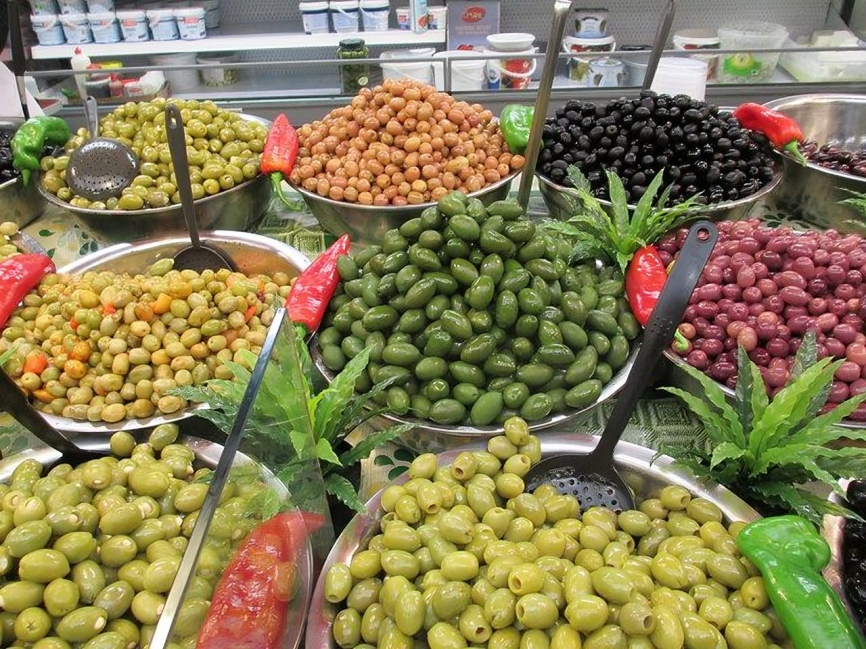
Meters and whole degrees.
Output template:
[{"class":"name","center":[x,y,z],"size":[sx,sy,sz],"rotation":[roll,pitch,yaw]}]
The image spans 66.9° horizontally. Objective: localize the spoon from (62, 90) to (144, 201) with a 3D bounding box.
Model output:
[{"class":"spoon","center":[-1.299,-0.638,2.540],"size":[0.222,0.067,0.394],"rotation":[-5,71,-13]}]

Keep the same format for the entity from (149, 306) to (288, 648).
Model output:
[{"class":"entity","center":[-0.476,0.354,1.442],"size":[0.057,0.064,0.781],"rotation":[19,74,-6]}]

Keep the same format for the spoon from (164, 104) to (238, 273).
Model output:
[{"class":"spoon","center":[-0.782,-0.390,2.145],"size":[0.165,0.612,0.103],"rotation":[-15,55,-17]}]
